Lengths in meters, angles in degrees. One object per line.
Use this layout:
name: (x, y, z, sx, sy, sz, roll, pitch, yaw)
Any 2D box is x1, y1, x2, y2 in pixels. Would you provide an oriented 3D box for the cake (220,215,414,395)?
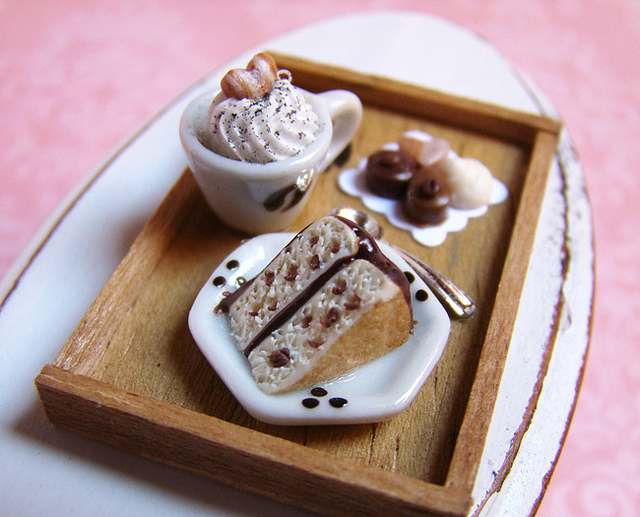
cake: (0.007, 0.079, 1.146, 0.266, 0.114, 0.288, -28, 54, -5)

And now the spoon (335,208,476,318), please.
spoon: (0.160, 0.013, 1.317, 0.285, 0.044, 0.065, 41, 20, 14)

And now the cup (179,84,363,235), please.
cup: (-0.090, -0.185, 1.432, 0.342, 0.291, 0.292, 16, 38, 23)
